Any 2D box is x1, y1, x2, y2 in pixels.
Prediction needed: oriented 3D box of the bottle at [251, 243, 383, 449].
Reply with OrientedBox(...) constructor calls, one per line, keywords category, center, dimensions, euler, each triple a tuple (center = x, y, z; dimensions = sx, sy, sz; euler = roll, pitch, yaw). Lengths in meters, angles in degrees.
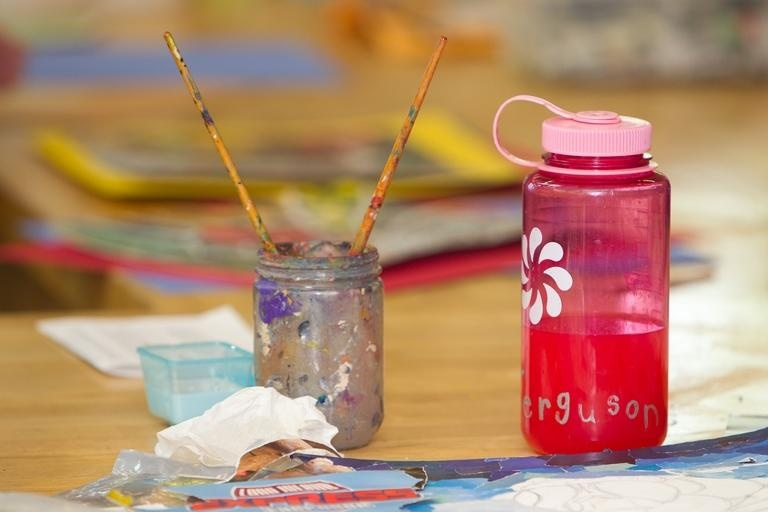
OrientedBox(category="bottle", center=(-0.065, 0.096, 1.051), dimensions=(0.140, 0.209, 0.060), euler=(-7, 12, 0))
